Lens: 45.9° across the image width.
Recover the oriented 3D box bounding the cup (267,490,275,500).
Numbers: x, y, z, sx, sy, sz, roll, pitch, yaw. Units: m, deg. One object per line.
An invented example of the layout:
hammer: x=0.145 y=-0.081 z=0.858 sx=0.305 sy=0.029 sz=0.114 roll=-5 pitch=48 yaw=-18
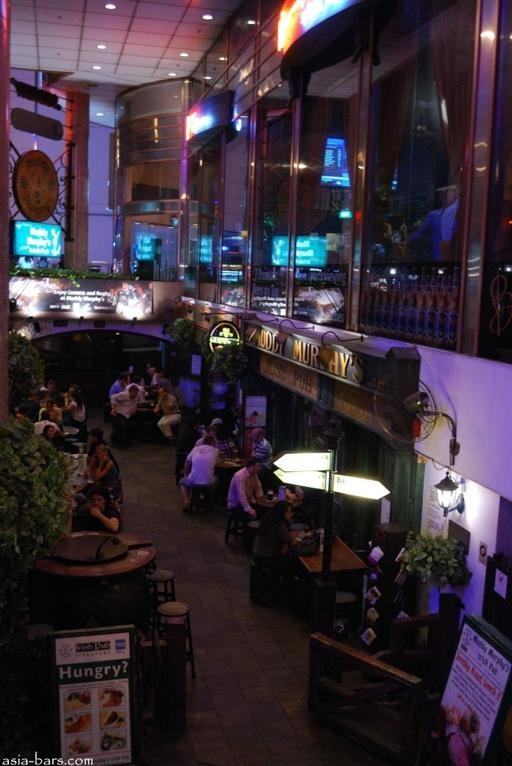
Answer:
cup: x=0.213 y=1.606 z=8.673 sx=0.120 sy=0.188 sz=0.124 roll=2 pitch=0 yaw=0

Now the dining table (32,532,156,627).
dining table: x=-1.252 y=1.694 z=4.938 sx=0.780 sy=0.717 sz=0.791 roll=2 pitch=7 yaw=22

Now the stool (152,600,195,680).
stool: x=-0.637 y=2.218 z=5.159 sx=0.322 sy=0.493 sz=0.330 roll=19 pitch=-25 yaw=-30

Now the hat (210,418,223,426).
hat: x=-0.732 y=0.751 z=11.471 sx=0.175 sy=0.137 sz=0.257 roll=0 pitch=-4 yaw=32

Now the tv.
tv: x=1.010 y=-2.541 z=7.027 sx=0.081 sy=0.634 sz=0.915 roll=19 pitch=25 yaw=33

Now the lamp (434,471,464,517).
lamp: x=1.303 y=0.770 z=4.147 sx=0.177 sy=0.291 sz=0.359 roll=4 pitch=2 yaw=1

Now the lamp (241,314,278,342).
lamp: x=0.070 y=-0.882 z=9.669 sx=0.257 sy=0.200 sz=0.550 roll=-22 pitch=30 yaw=-26

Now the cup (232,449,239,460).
cup: x=-0.399 y=1.366 z=11.569 sx=0.137 sy=0.266 sz=0.145 roll=1 pitch=3 yaw=0

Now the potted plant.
potted plant: x=1.245 y=1.200 z=4.146 sx=0.345 sy=0.266 sz=0.398 roll=7 pitch=1 yaw=-6

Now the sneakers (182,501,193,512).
sneakers: x=-1.168 y=2.069 z=10.218 sx=0.086 sy=0.173 sz=0.251 roll=3 pitch=6 yaw=-13

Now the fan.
fan: x=1.161 y=0.256 z=4.415 sx=0.438 sy=0.769 sz=0.634 roll=-3 pitch=7 yaw=-26
